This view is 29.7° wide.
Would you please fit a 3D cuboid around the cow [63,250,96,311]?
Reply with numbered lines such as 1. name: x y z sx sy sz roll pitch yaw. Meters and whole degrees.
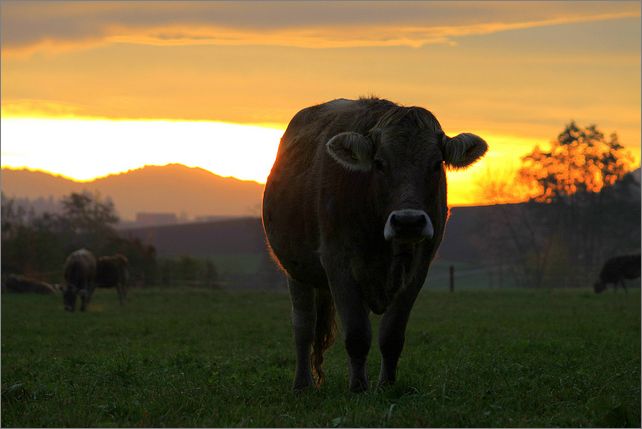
1. cow: -20.548 5.856 102.842 2.402 4.491 3.844 2 -1 -5

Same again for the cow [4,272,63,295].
1. cow: -28.012 7.014 116.006 3.201 1.596 3.732 1 -1 44
